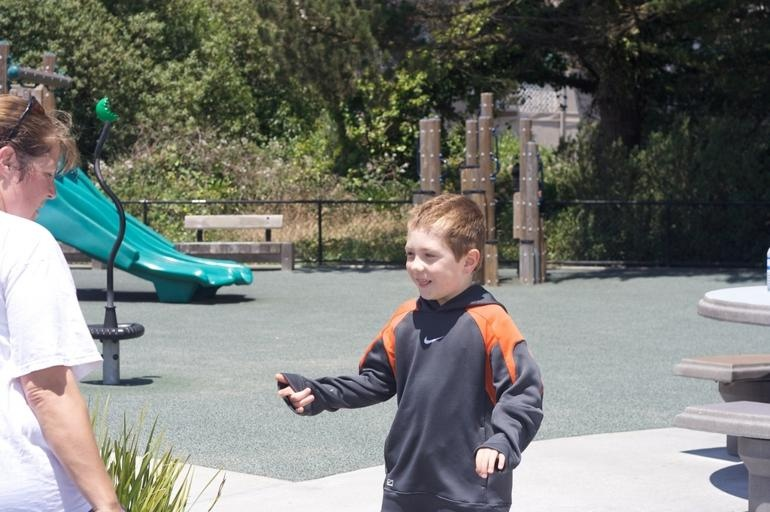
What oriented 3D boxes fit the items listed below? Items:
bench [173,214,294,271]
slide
[{"bbox_3d":[-3.231,-0.296,31.631,2.514,1.308,1.285,1,6,15],"label":"bench"},{"bbox_3d":[-4.723,0.086,25.770,4.088,2.780,3.485,4,5,-27],"label":"slide"}]
